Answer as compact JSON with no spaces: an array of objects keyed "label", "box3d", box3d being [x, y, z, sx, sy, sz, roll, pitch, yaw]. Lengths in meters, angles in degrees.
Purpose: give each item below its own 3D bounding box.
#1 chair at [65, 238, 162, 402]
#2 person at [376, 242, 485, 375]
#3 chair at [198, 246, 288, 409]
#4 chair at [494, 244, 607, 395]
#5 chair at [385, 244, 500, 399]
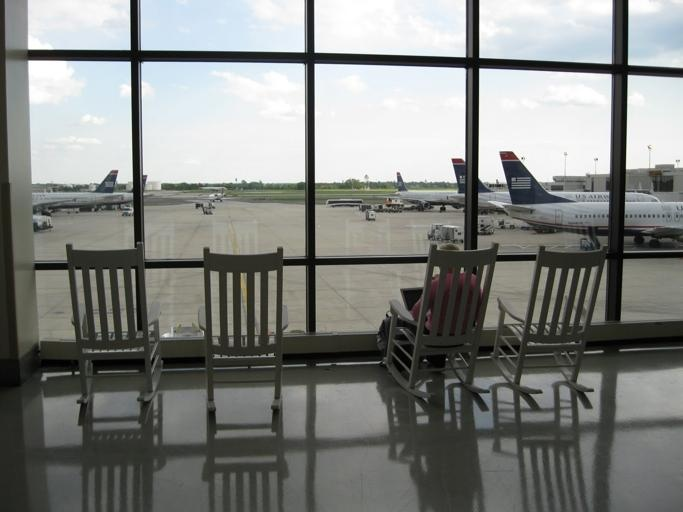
[{"label":"chair","box3d":[-2.088,0.533,5.490,0.757,1.386,1.354,-3,7,-21]},{"label":"person","box3d":[1.099,0.362,5.603,0.745,0.886,1.150,1,-18,30]},{"label":"chair","box3d":[-0.893,0.555,5.492,0.749,1.389,1.308,-1,6,-6]},{"label":"chair","box3d":[1.938,0.531,5.613,0.889,1.382,1.187,4,12,19]},{"label":"chair","box3d":[0.856,0.537,5.408,0.805,1.369,0.971,-2,7,-14]}]
